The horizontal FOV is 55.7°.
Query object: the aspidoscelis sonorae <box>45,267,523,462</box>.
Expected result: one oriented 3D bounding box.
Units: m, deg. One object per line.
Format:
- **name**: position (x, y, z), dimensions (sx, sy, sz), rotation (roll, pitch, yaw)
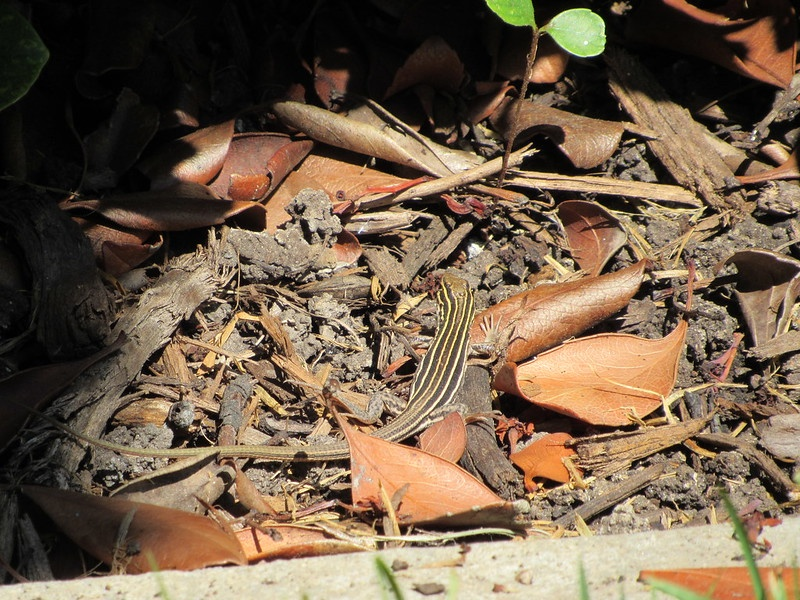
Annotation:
- **aspidoscelis sonorae**: position (-0.219, 0.372, 3.608), dimensions (1.750, 0.732, 0.495), rotation (-13, 13, -26)
